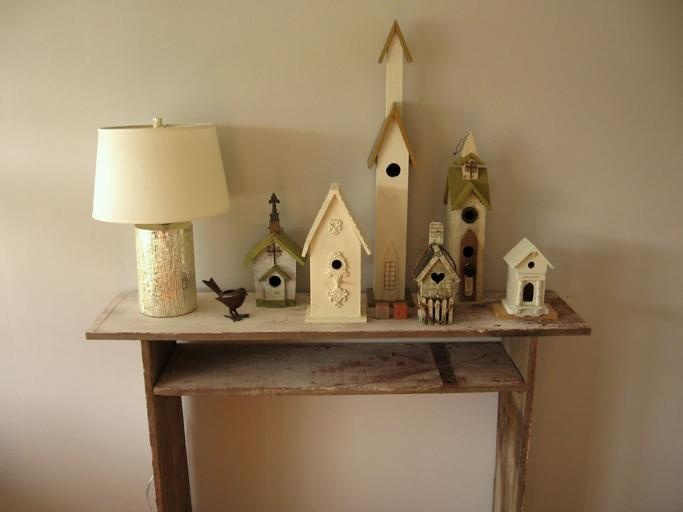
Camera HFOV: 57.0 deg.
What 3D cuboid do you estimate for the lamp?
[{"bbox_3d":[-0.599,-0.132,2.095,0.430,0.504,0.278,1,-1,-12],"label":"lamp"}]
